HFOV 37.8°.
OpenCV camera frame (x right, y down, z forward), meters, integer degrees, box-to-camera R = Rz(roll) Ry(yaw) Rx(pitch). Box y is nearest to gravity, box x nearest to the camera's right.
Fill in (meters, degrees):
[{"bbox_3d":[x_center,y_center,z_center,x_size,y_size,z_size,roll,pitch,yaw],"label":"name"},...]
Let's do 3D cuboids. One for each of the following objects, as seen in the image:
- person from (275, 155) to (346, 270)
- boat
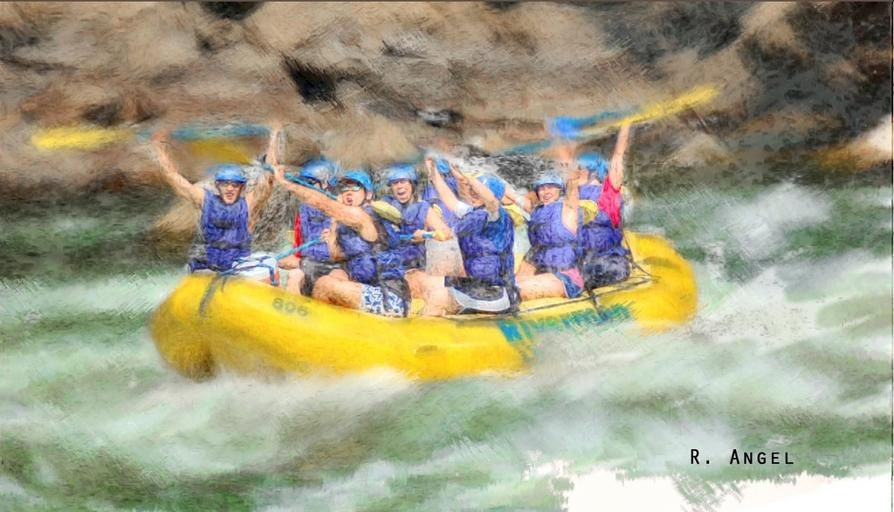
[{"bbox_3d":[-1.504,-0.459,14.735,0.947,1.038,0.363,4,6,4],"label":"person"},{"bbox_3d":[-0.362,0.674,15.141,4.368,0.896,2.209,-5,13,-12],"label":"boat"}]
